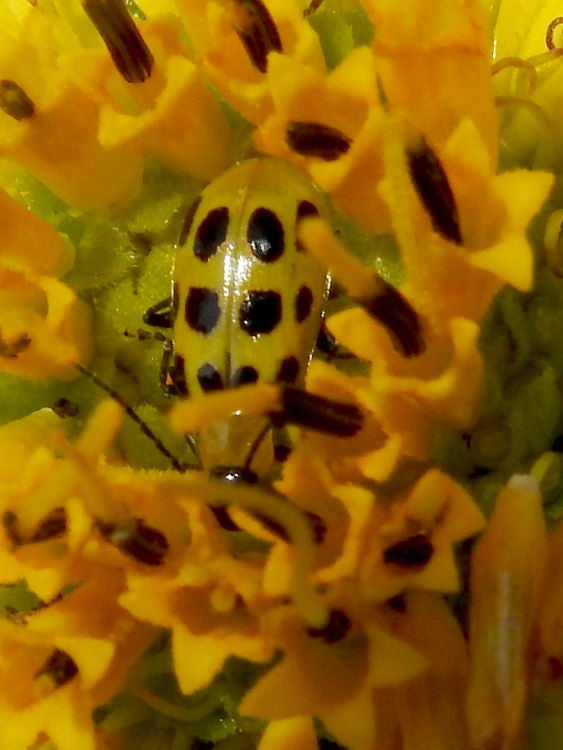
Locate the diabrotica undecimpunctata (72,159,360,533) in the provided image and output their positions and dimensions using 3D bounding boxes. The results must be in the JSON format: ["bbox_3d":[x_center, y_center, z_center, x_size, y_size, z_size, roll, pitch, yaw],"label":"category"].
[{"bbox_3d":[-0.054,-0.030,0.816,0.260,0.118,0.302,1,92,24],"label":"diabrotica undecimpunctata"}]
